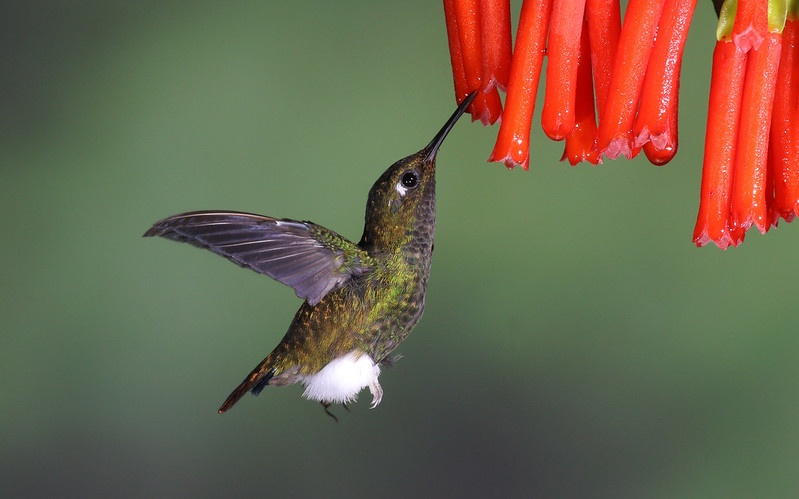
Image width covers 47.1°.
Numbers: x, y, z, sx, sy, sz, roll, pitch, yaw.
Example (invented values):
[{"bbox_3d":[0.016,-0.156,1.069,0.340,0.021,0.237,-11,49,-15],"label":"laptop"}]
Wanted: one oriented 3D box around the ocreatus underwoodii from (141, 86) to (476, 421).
[{"bbox_3d":[-0.145,0.089,2.086,0.591,0.222,0.573,-10,-66,4],"label":"ocreatus underwoodii"}]
